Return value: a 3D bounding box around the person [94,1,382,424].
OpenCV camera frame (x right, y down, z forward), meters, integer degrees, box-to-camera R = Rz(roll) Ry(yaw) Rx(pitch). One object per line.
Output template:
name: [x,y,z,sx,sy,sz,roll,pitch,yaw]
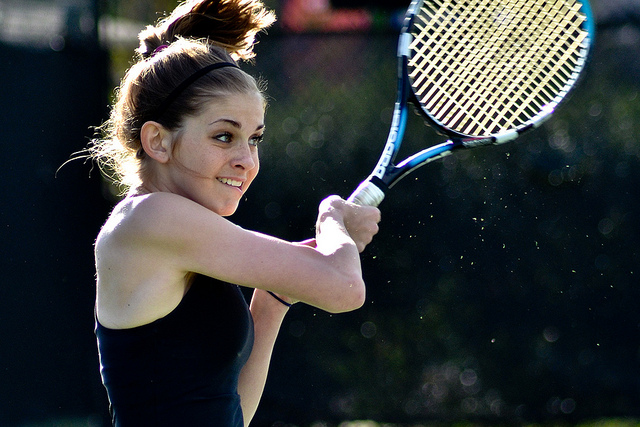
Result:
person: [-0.468,0.046,4.393,1.150,1.632,1.193,6,29,-16]
